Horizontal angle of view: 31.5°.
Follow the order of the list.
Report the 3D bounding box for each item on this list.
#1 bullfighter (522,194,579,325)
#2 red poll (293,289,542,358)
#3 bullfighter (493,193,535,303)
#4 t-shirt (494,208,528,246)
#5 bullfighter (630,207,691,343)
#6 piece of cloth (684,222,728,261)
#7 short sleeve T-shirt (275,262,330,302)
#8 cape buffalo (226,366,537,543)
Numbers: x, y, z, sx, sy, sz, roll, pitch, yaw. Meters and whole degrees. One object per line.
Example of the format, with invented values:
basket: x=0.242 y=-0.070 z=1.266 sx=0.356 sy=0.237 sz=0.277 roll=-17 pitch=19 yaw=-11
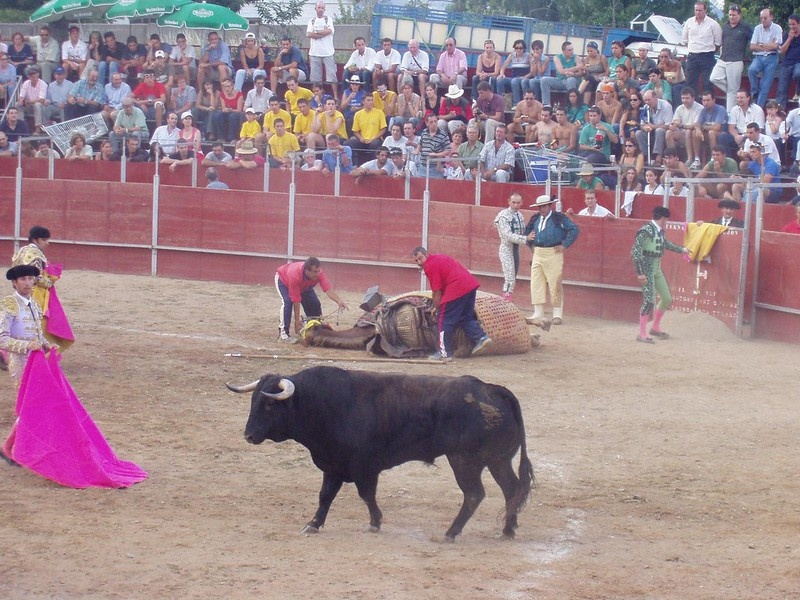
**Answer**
bullfighter: x=2.329 y=-0.688 z=21.943 sx=0.818 sy=2.059 sz=0.661 roll=7 pitch=12 yaw=13
red poll: x=0.299 y=0.448 z=20.701 sx=3.694 sy=1.233 sz=1.198 roll=-1 pitch=-11 yaw=7
bullfighter: x=1.846 y=-0.841 z=22.341 sx=0.620 sy=1.655 sz=0.542 roll=-1 pitch=6 yaw=-22
t-shirt: x=1.782 y=-1.150 z=22.325 sx=0.522 sy=0.623 sz=0.549 roll=0 pitch=15 yaw=16
bullfighter: x=3.868 y=-0.415 z=21.196 sx=0.860 sy=2.091 sz=0.817 roll=1 pitch=7 yaw=-1
piece of cloth: x=4.747 y=-0.884 z=21.743 sx=0.099 sy=0.555 sz=0.551 roll=8 pitch=0 yaw=-44
short sleeve T-shirt: x=-1.455 y=-0.273 z=20.818 sx=0.498 sy=0.347 sz=0.799 roll=-6 pitch=21 yaw=-22
cape buffalo: x=-0.161 y=1.664 z=15.039 sx=3.227 sy=1.705 sz=0.969 roll=3 pitch=1 yaw=2
